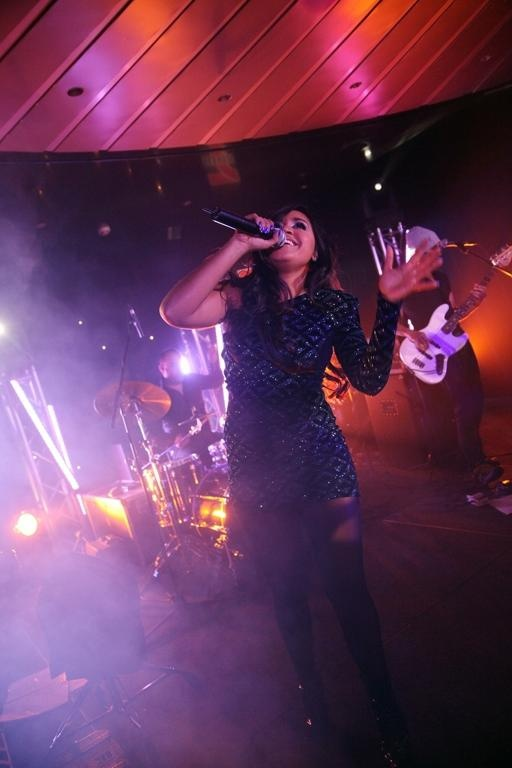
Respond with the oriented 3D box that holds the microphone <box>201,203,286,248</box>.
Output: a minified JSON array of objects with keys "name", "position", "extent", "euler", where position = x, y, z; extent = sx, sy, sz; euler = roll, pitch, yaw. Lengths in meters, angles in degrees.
[{"name":"microphone","position":[-0.027,-0.520,2.119],"extent":[0.352,0.084,0.096],"euler":[13,-32,-28]}]

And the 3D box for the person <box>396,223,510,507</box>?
[{"name":"person","position":[1.447,-0.160,4.952],"extent":[0.988,2.681,0.318],"euler":[-1,0,-5]}]

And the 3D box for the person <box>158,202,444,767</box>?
[{"name":"person","position":[0.213,0.327,2.170],"extent":[0.669,1.754,0.476],"euler":[-20,5,-12]}]

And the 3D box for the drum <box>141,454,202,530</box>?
[{"name":"drum","position":[-0.588,0.852,4.948],"extent":[0.462,0.714,0.443],"euler":[-3,-6,0]}]
